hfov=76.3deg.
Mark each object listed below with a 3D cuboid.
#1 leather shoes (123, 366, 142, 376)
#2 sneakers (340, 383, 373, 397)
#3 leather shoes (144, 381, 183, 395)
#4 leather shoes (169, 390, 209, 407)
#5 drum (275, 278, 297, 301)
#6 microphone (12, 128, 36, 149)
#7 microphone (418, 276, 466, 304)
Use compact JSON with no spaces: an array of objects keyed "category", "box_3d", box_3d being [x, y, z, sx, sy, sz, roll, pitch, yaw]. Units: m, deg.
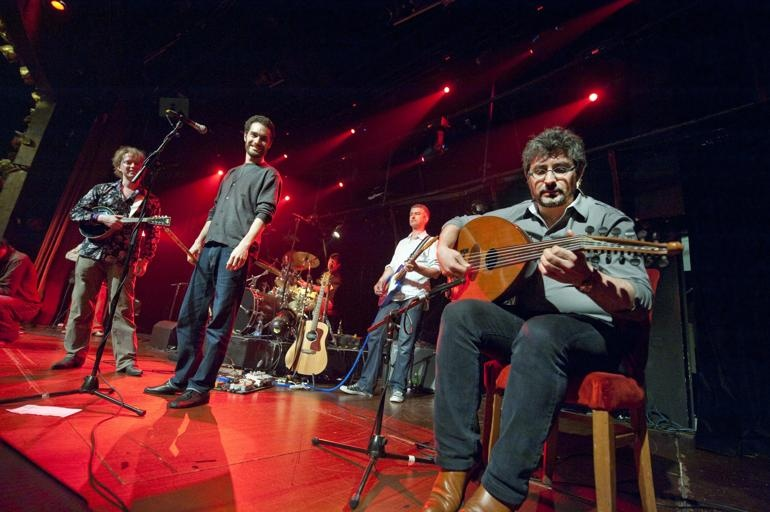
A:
[{"category":"leather shoes","box_3d":[-3.004,1.382,5.904,0.288,0.115,0.099,1,-13,22]},{"category":"sneakers","box_3d":[-0.405,1.894,6.822,0.470,0.178,0.171,11,-27,4]},{"category":"leather shoes","box_3d":[-2.346,1.432,5.290,0.430,0.167,0.152,16,-17,-25]},{"category":"leather shoes","box_3d":[-1.993,1.477,5.003,0.148,0.160,0.425,9,-10,43]},{"category":"drum","box_3d":[-1.850,0.588,9.130,0.413,0.330,0.472,9,-23,-14]},{"category":"microphone","box_3d":[-6.550,-2.114,8.882,0.322,0.089,0.318,-21,-55,5]},{"category":"microphone","box_3d":[0.461,0.334,4.508,0.169,0.155,0.699,11,-15,-18]}]
